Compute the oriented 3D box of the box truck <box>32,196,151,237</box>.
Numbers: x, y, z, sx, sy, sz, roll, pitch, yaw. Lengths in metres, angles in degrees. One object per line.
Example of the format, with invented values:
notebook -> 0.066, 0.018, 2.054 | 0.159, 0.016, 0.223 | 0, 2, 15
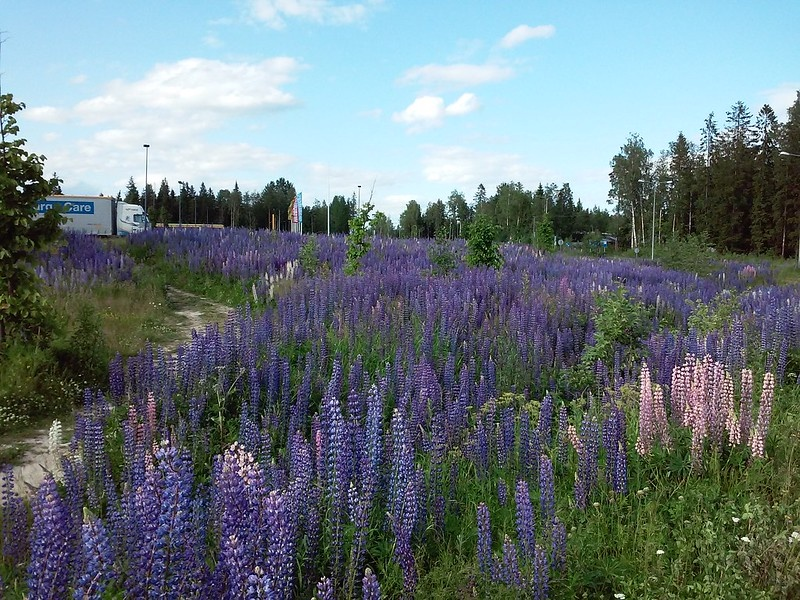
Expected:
box truck -> -15.568, -3.964, 34.709 | 4.889, 2.235, 1.466 | -2, -7, -26
